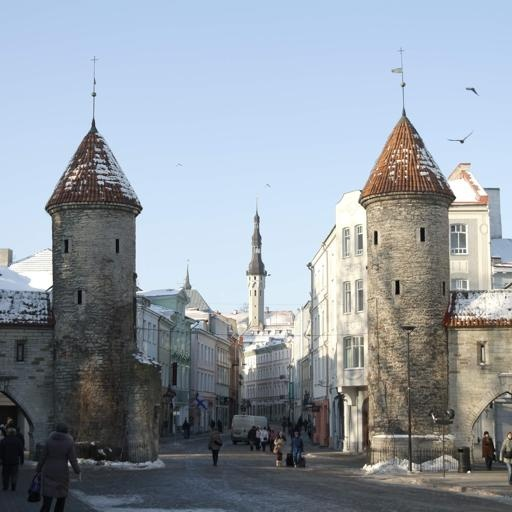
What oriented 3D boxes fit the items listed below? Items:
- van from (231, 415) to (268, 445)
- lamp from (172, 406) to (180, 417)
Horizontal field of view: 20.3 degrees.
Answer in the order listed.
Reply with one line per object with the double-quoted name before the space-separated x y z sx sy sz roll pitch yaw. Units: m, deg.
"van" -0.498 10.131 84.411 1.150 1.460 2.416 0 1 15
"lamp" -5.636 11.128 101.561 0.492 0.800 0.992 -2 -3 13
